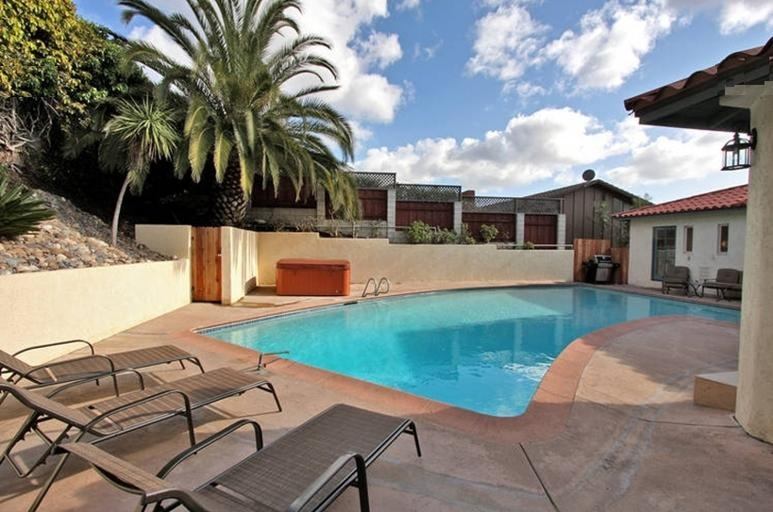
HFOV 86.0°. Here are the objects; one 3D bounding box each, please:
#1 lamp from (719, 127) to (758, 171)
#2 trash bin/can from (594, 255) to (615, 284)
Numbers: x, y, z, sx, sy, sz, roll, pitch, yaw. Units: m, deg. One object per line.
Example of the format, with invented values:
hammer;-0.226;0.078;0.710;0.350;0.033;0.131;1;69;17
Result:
lamp;4.888;-1.464;5.789;0.345;0.529;0.472;2;2;35
trash bin/can;9.123;0.577;17.347;0.933;1.146;0.432;0;3;-24
